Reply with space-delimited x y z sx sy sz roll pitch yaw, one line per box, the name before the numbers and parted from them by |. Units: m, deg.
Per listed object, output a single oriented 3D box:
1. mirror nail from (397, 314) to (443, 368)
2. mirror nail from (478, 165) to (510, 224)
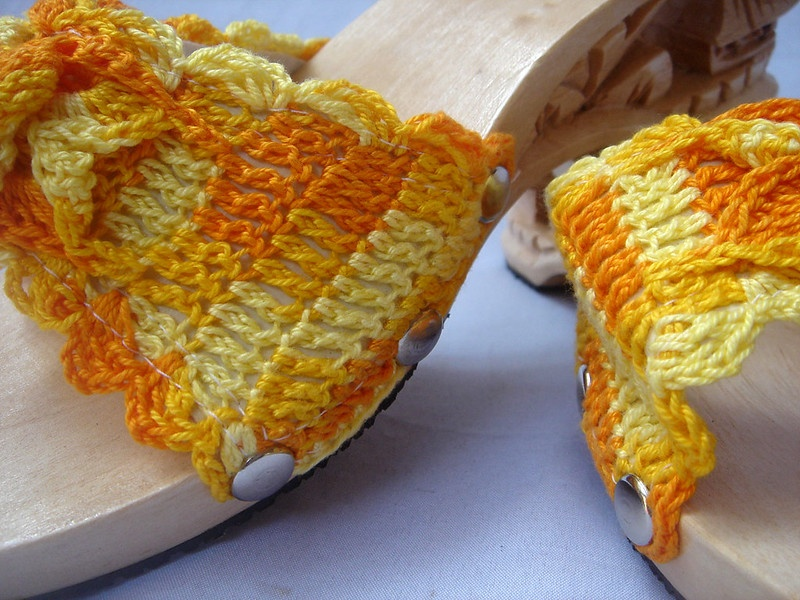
mirror nail | 0.017 0.035 0.786 0.033 0.013 0.055 44 107 3
mirror nail | 0.090 -0.101 0.844 0.011 0.054 0.046 26 95 33
